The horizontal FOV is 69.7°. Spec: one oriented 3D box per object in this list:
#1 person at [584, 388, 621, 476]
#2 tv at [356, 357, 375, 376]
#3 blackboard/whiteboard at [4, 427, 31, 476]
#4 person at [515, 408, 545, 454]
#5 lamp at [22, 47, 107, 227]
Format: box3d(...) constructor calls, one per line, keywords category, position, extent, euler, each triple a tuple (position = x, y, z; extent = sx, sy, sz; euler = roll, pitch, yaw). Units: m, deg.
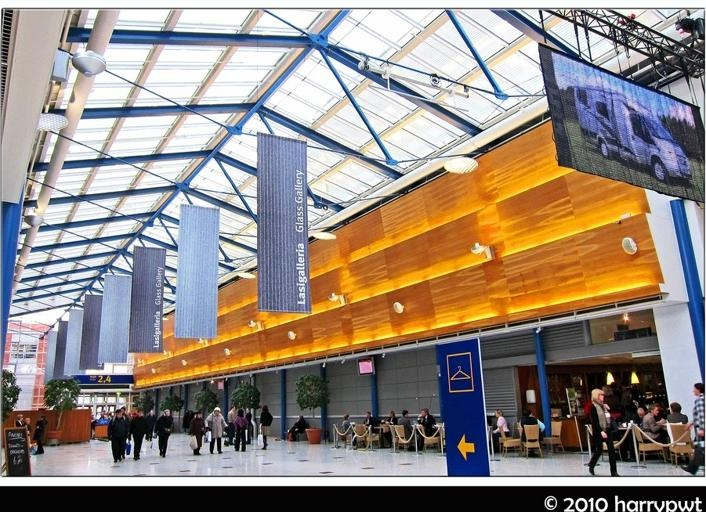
box3d(category="person", position=(5.029, 3.573, 10.402), extent=(0.623, 1.675, 1.255), euler=(-11, -21, 21))
box3d(category="tv", position=(0.600, 4.568, 21.142), extent=(0.283, 0.708, 0.823), euler=(15, -26, -40))
box3d(category="blackboard/whiteboard", position=(-7.632, 4.431, 11.537), extent=(0.697, 1.008, 0.640), euler=(14, -26, -38))
box3d(category="person", position=(5.187, 5.039, 14.565), extent=(0.707, 1.311, 1.468), euler=(-9, -21, 17))
box3d(category="lamp", position=(-7.776, -3.199, 13.680), extent=(0.845, 0.919, 3.851), euler=(17, -70, -32))
